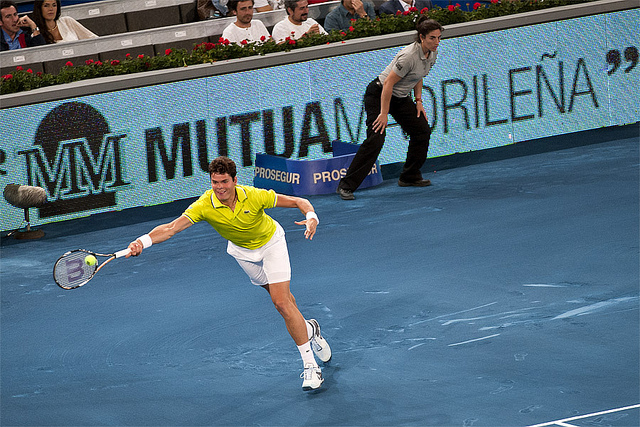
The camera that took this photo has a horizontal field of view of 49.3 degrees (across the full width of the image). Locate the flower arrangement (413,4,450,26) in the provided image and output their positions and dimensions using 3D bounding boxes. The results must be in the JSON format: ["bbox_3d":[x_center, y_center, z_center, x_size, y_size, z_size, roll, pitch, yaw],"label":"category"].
[{"bbox_3d":[2.047,-3.628,12.852,0.642,0.404,1.219,-5,12,9],"label":"flower arrangement"}]

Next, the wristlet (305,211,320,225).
[{"bbox_3d":[-0.087,0.043,7.221,0.171,0.099,0.132,-3,8,-8],"label":"wristlet"}]

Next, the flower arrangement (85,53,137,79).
[{"bbox_3d":[-3.491,-2.488,11.936,0.892,0.192,0.510,-6,17,0],"label":"flower arrangement"}]

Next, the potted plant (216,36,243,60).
[{"bbox_3d":[-1.555,-2.873,12.178,0.610,0.277,0.411,0,23,-4],"label":"potted plant"}]

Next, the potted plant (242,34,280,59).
[{"bbox_3d":[-1.096,-2.995,12.340,0.745,0.186,0.666,-13,11,-11],"label":"potted plant"}]

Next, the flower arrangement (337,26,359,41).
[{"bbox_3d":[0.450,-3.208,12.489,0.374,0.246,0.249,-15,17,-29],"label":"flower arrangement"}]

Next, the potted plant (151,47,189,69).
[{"bbox_3d":[-2.609,-2.630,12.007,0.588,0.187,0.513,-12,14,-30],"label":"potted plant"}]

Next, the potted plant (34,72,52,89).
[{"bbox_3d":[-4.612,-2.230,11.733,0.416,0.172,0.363,-2,7,-14],"label":"potted plant"}]

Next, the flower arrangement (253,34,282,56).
[{"bbox_3d":[-0.896,-2.890,12.142,0.565,0.191,0.410,-10,36,-11],"label":"flower arrangement"}]

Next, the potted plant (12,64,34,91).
[{"bbox_3d":[-4.934,-2.235,11.664,0.344,0.370,0.515,-14,16,-16],"label":"potted plant"}]

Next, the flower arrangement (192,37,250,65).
[{"bbox_3d":[-1.678,-2.807,12.255,0.954,0.217,0.913,-17,12,-31],"label":"flower arrangement"}]

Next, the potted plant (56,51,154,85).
[{"bbox_3d":[-3.616,-2.435,11.868,1.652,0.360,0.580,-7,14,-9],"label":"potted plant"}]
